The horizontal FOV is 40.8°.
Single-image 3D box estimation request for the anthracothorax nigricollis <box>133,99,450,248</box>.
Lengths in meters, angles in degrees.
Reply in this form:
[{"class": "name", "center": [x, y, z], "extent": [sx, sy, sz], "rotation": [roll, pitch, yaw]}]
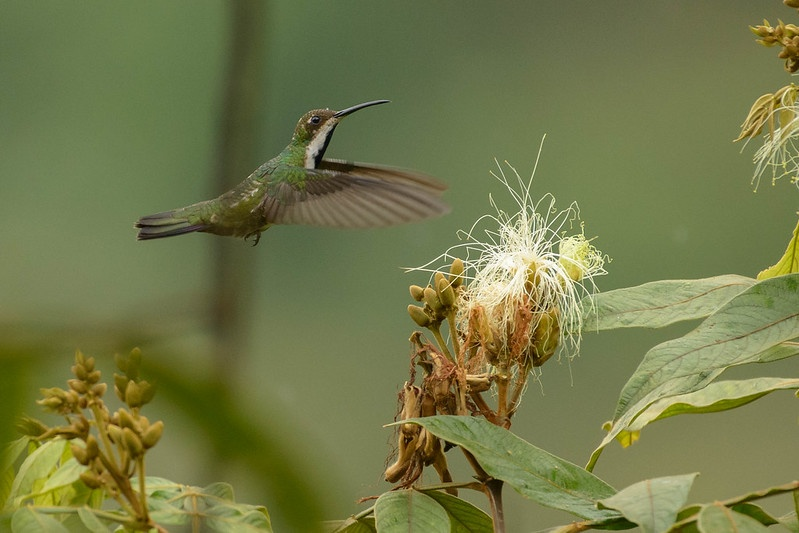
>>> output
[{"class": "anthracothorax nigricollis", "center": [-0.188, -0.140, 2.072], "extent": [0.440, 0.329, 0.192], "rotation": [-8, -91, 2]}]
